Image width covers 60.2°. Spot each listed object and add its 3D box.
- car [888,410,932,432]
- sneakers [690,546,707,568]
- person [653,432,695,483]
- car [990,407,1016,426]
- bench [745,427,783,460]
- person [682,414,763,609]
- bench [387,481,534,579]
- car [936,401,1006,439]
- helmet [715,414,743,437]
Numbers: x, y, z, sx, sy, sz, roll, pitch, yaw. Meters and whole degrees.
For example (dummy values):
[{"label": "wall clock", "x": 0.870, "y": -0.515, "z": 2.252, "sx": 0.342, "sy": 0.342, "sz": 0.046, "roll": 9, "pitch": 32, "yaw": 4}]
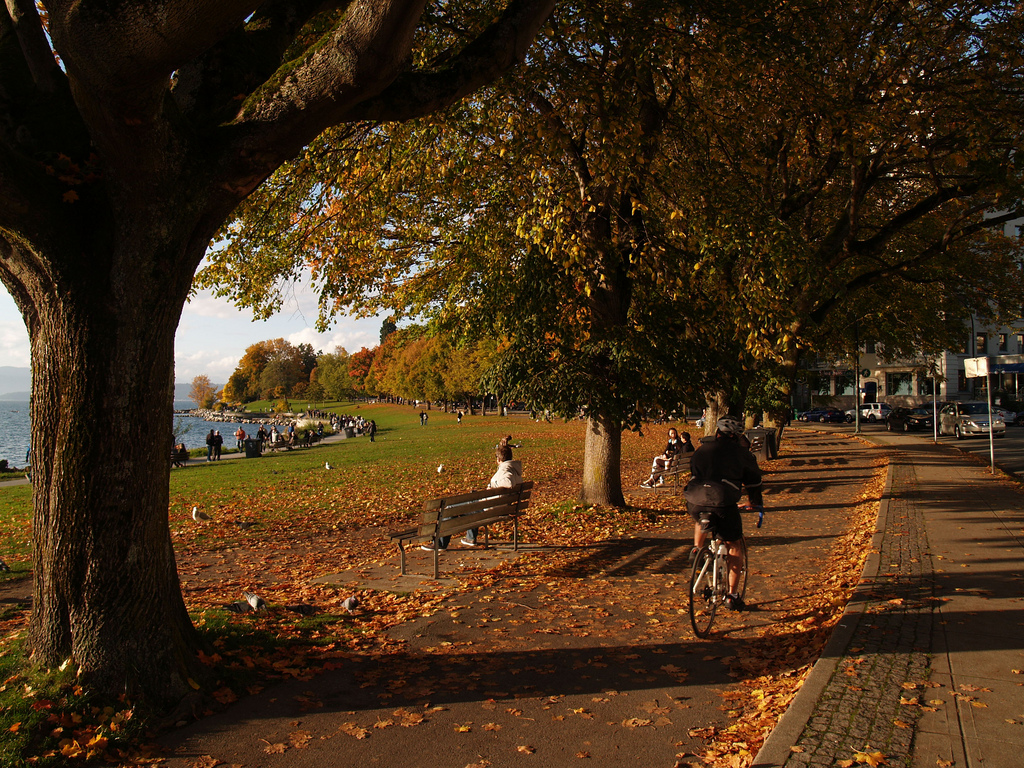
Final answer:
[{"label": "car", "x": 23.040, "y": 2.058, "z": 51.017, "sx": 1.648, "sy": 0.996, "sz": 3.107, "roll": -3, "pitch": -3, "yaw": 3}, {"label": "sneakers", "x": 2.145, "y": 1.984, "z": 10.163, "sx": 0.154, "sy": 0.217, "sz": 0.440, "roll": -3, "pitch": -3, "yaw": 13}, {"label": "person", "x": 4.525, "y": 2.078, "z": 24.788, "sx": 0.521, "sy": 0.653, "sz": 1.617, "roll": -1, "pitch": 2, "yaw": 35}, {"label": "car", "x": 23.195, "y": 1.569, "z": 41.658, "sx": 0.969, "sy": 0.747, "sz": 2.230, "roll": -7, "pitch": -7, "yaw": 30}, {"label": "bench", "x": 7.875, "y": 1.868, "z": 27.590, "sx": 0.824, "sy": 1.036, "sz": 1.513, "roll": -1, "pitch": 1, "yaw": 26}, {"label": "person", "x": 2.438, "y": 1.546, "z": 10.266, "sx": 0.969, "sy": 2.300, "sz": 0.588, "roll": -1, "pitch": -3, "yaw": -36}, {"label": "bench", "x": -0.722, "y": 2.196, "z": 13.552, "sx": 0.768, "sy": 1.167, "sz": 3.141, "roll": 0, "pitch": 0, "yaw": 28}, {"label": "car", "x": 21.135, "y": 1.689, "z": 40.906, "sx": 1.442, "sy": 1.292, "sz": 3.868, "roll": -3, "pitch": -3, "yaw": 14}, {"label": "helmet", "x": 2.520, "y": 0.491, "z": 10.266, "sx": 0.258, "sy": 0.257, "sz": 0.216, "roll": -9, "pitch": 2, "yaw": -6}]
